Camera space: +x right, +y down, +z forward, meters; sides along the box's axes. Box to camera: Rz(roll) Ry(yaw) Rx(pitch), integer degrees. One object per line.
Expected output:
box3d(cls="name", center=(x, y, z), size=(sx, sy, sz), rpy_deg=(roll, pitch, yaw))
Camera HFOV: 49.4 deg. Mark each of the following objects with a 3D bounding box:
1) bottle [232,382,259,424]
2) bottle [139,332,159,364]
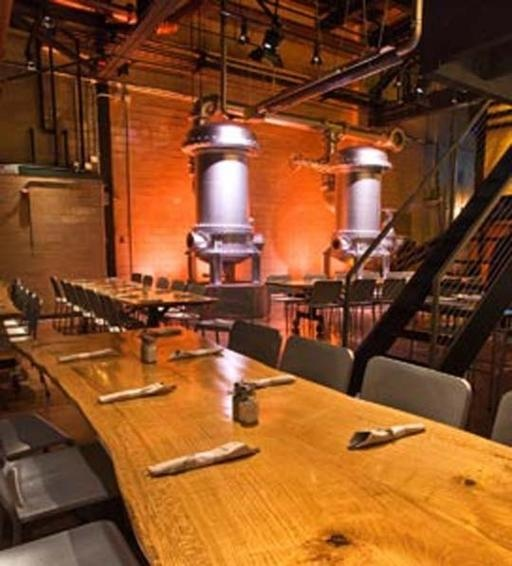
box3d(cls="bottle", center=(-0.036, 0.365, 1.678), size=(0.074, 0.045, 0.124), rpy_deg=(-1, 35, -8))
box3d(cls="bottle", center=(-0.494, 0.302, 2.551), size=(0.065, 0.149, 0.100), rpy_deg=(-7, 11, -37))
